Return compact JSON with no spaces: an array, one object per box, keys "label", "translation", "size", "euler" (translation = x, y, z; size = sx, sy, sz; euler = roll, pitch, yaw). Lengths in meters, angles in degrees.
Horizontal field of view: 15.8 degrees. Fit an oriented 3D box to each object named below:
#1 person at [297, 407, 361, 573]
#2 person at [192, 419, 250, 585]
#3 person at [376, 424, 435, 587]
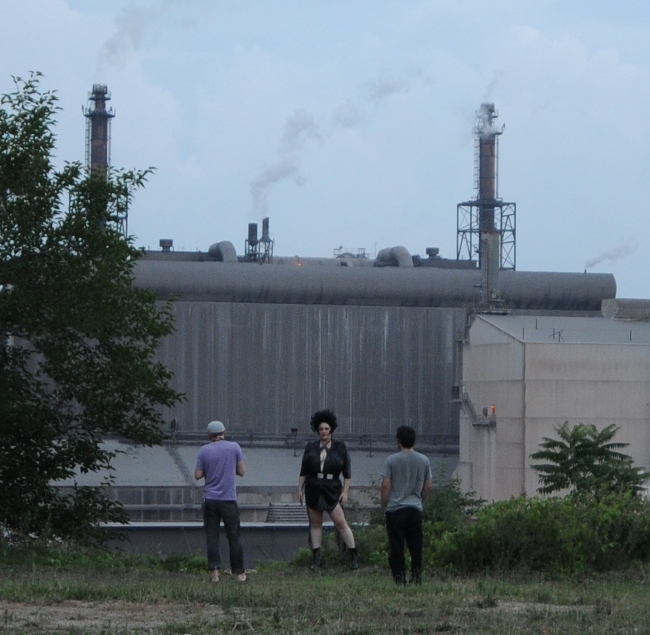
[{"label":"person","translation":[-0.067,3.056,45.481],"size":[0.986,2.566,1.255],"euler":[-2,-4,-1]},{"label":"person","translation":[-2.046,3.485,44.939],"size":[0.919,3.101,1.043],"euler":[-2,-4,-2]},{"label":"person","translation":[1.479,3.374,43.938],"size":[0.843,3.257,0.888],"euler":[-2,25,-4]}]
